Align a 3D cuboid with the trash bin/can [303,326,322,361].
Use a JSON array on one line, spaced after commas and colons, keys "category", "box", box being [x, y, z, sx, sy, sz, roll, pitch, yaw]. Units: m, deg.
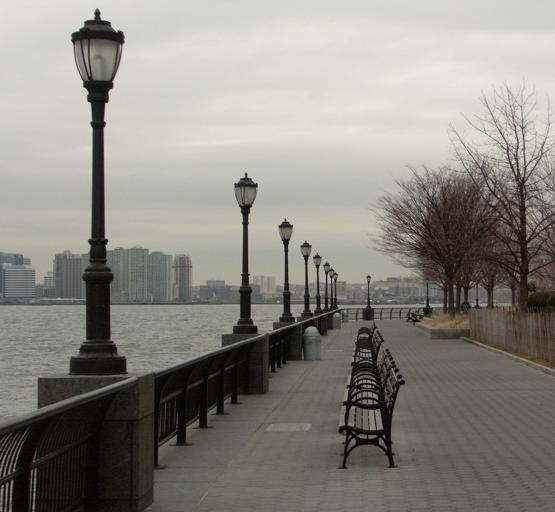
[{"category": "trash bin/can", "box": [0.927, 2.258, 26.226, 0.450, 0.626, 0.761, -2, -1, 0]}]
